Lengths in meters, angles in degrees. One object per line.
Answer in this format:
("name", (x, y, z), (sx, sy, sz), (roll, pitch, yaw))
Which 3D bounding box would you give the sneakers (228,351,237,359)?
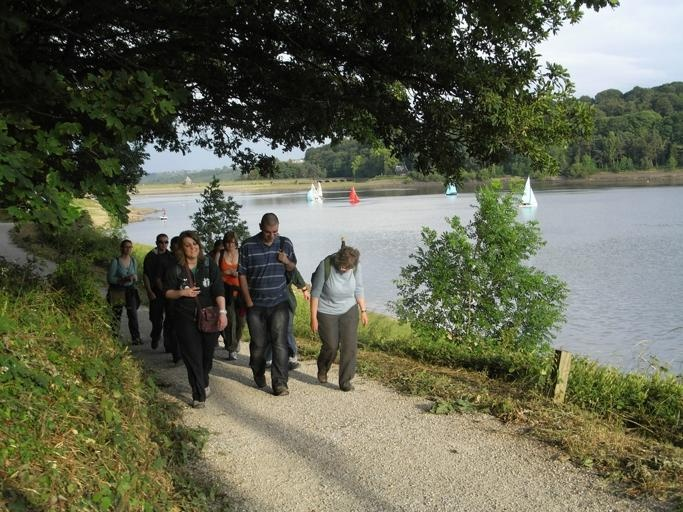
("sneakers", (-1.844, 1.709, 9.965), (0.106, 0.109, 0.130), (7, -8, -26))

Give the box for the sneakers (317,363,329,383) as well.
("sneakers", (-0.260, 1.675, 8.336), (0.118, 0.267, 0.256), (-7, -23, -23))

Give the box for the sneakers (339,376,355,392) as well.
("sneakers", (0.075, 1.810, 8.122), (0.123, 0.166, 0.240), (1, -8, -20))

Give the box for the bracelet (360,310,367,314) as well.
("bracelet", (0.299, 0.773, 8.036), (0.050, 0.051, 0.050), (-2, 0, 15))

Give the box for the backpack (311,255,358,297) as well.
("backpack", (-0.076, 0.160, 7.912), (0.421, 0.422, 0.293), (-25, 14, -15))

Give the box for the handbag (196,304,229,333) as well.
("handbag", (-1.675, 0.779, 7.583), (0.506, 0.489, 0.277), (3, -7, -42))
